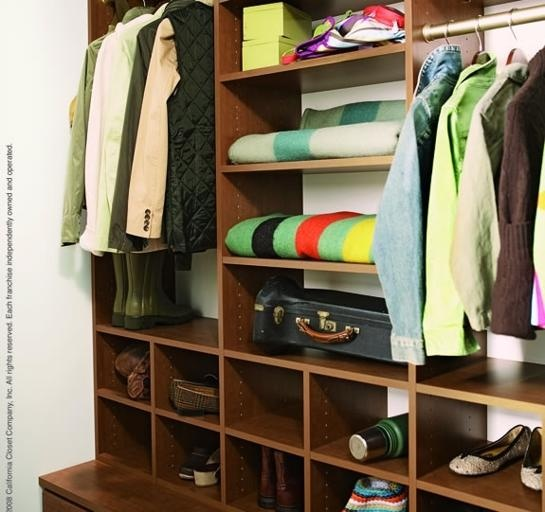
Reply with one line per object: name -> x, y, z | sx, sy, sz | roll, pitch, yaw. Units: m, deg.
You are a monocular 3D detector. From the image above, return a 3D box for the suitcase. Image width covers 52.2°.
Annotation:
suitcase -> 0.133, 0.178, 1.705 | 0.314, 0.167, 0.197 | 1, 1, 40

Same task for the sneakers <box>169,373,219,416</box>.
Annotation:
sneakers -> -0.289, 0.504, 2.039 | 0.149, 0.064, 0.122 | -2, -7, 44

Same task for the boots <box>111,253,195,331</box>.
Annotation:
boots -> -0.524, 0.146, 2.287 | 0.195, 0.413, 0.382 | 2, 3, 42

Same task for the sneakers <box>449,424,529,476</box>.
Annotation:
sneakers -> 0.601, 0.537, 1.535 | 0.299, 0.099, 0.094 | 2, -3, -32

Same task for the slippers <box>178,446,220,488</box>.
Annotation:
slippers -> -0.264, 0.785, 2.076 | 0.079, 0.061, 0.157 | 2, 2, 15
